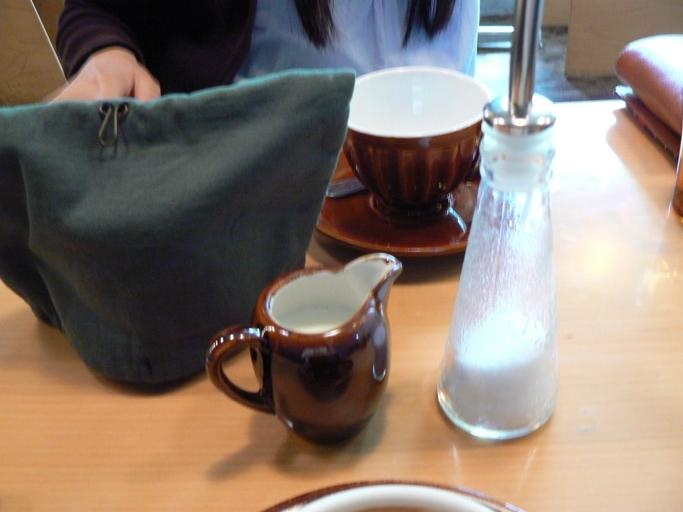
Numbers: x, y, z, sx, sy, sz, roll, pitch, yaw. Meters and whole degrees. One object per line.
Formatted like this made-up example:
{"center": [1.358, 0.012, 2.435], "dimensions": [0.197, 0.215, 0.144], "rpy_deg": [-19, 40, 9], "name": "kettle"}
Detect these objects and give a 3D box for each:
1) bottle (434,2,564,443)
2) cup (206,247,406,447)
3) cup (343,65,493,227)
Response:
{"center": [0.122, -0.005, 0.399], "dimensions": [0.089, 0.292, 0.108], "rpy_deg": [16, 43, 23], "name": "bottle"}
{"center": [-0.018, 0.059, 0.497], "dimensions": [0.161, 0.137, 0.115], "rpy_deg": [-18, 43, -18], "name": "cup"}
{"center": [0.060, -0.093, 0.644], "dimensions": [0.154, 0.121, 0.155], "rpy_deg": [-2, 37, 1], "name": "cup"}
